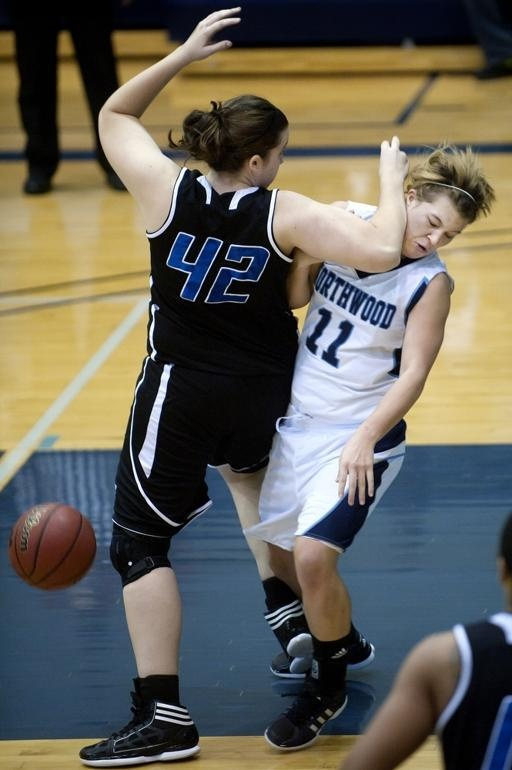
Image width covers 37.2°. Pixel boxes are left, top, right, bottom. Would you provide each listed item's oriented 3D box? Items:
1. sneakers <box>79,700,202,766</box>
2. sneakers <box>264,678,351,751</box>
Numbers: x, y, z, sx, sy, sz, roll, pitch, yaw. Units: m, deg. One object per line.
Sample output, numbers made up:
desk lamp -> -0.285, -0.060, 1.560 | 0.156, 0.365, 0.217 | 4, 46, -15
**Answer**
sneakers -> -0.214, 0.717, 1.587 | 0.315, 0.097, 0.162 | 0, 79, -3
sneakers -> 0.110, 0.671, 1.630 | 0.077, 0.085, 0.230 | 32, 35, 28
